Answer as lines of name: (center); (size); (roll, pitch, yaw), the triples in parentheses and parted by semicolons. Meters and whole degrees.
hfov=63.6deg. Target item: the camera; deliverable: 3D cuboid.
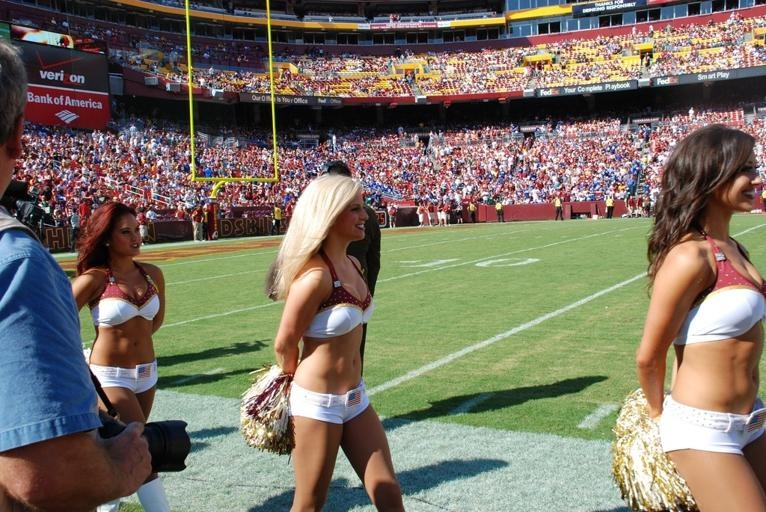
camera: (-0.854, 0.654, 2.178); (0.171, 0.158, 0.297); (24, 12, 38)
